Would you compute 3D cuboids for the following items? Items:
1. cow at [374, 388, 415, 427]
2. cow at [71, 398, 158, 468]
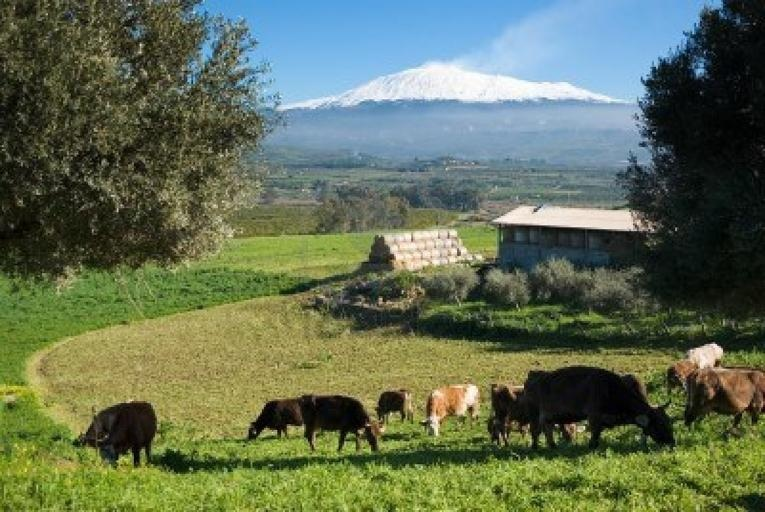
[{"bbox_3d":[0.462,6.457,38.615,1.609,1.343,1.148,-1,6,-5],"label":"cow"},{"bbox_3d":[-9.342,6.313,32.341,2.437,1.544,1.736,1,-5,45],"label":"cow"}]
